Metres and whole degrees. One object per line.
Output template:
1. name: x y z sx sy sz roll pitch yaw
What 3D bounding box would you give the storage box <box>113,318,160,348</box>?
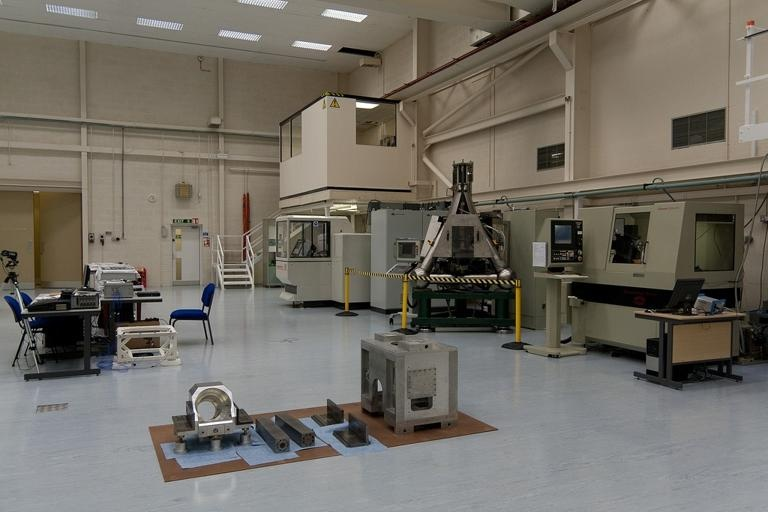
1. storage box: -4.140 1.156 9.317 0.772 0.556 0.410 1 10 -17

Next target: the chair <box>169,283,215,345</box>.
1. chair: -3.525 1.036 10.009 0.812 1.045 0.675 1 2 -28

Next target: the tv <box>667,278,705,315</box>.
1. tv: 4.350 0.593 7.962 0.199 0.552 0.555 10 -15 6

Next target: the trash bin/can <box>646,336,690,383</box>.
1. trash bin/can: 4.172 1.487 8.059 0.498 0.533 0.292 4 -2 -8

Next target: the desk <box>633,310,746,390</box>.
1. desk: 4.549 1.327 8.129 1.198 0.957 0.926 -1 2 -16

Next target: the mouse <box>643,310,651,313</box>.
1. mouse: 3.930 0.818 8.159 0.080 0.021 0.085 -1 3 -23
